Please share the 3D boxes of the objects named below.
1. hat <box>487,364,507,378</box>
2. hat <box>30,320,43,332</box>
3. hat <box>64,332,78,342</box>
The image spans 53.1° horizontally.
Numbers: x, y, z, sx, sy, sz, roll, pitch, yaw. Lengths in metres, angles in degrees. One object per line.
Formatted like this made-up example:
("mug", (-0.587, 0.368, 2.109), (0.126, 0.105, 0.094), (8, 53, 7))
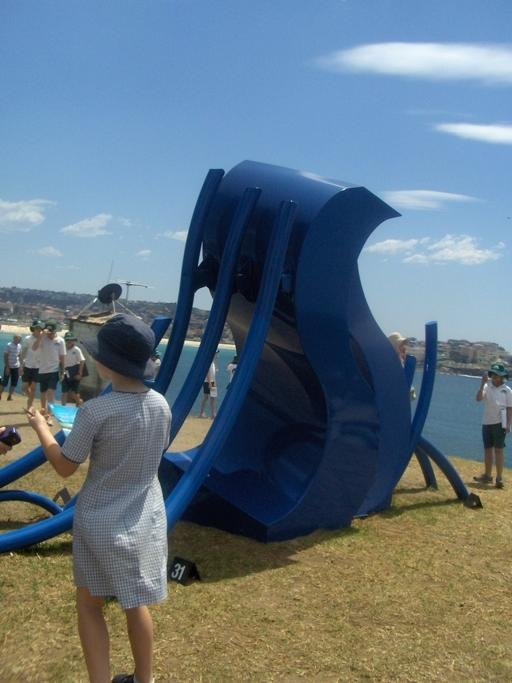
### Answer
("hat", (4.070, 0.487, 8.556), (0.326, 0.178, 0.248), (26, -11, -33))
("hat", (-4.307, -0.298, 9.956), (0.188, 0.137, 0.251), (1, -12, -3))
("hat", (-3.968, -0.085, 10.938), (0.223, 0.164, 0.297), (-2, 6, -18))
